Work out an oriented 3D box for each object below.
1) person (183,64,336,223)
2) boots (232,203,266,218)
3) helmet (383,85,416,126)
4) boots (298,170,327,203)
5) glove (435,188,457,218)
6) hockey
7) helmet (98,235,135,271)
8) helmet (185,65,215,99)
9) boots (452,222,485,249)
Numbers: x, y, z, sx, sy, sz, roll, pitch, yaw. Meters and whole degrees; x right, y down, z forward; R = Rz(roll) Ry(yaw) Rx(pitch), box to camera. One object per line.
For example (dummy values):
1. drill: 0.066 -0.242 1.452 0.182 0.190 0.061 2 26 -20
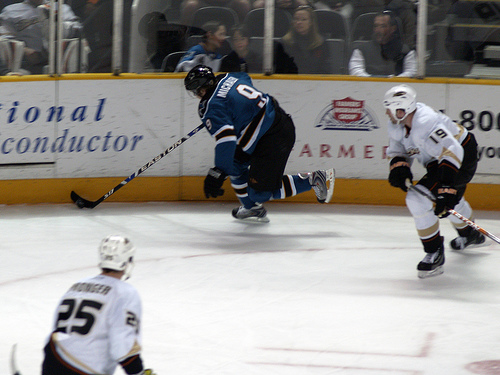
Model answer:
1. person: 0.039 -0.340 5.611 1.121 1.275 0.454 -2 8 -23
2. boots: 0.024 0.196 5.864 0.340 0.108 0.103 2 24 15
3. helmet: 1.058 -0.548 4.587 0.300 0.261 0.207 -3 38 13
4. boots: 0.541 -0.013 5.745 0.217 0.261 0.137 11 14 32
5. glove: 1.279 0.101 4.456 0.152 0.177 0.058 10 16 0
6. hockey: -1.066 -0.229 6.282 1.647 0.217 0.133 -25 -35 22
7. helmet: -0.632 0.314 3.243 0.167 0.146 0.185 4 4 9
8. helmet: -0.387 -0.835 5.385 0.242 0.254 0.107 0 8 -3
9. boots: 1.659 0.314 5.058 0.124 0.202 0.255 -7 3 -35
